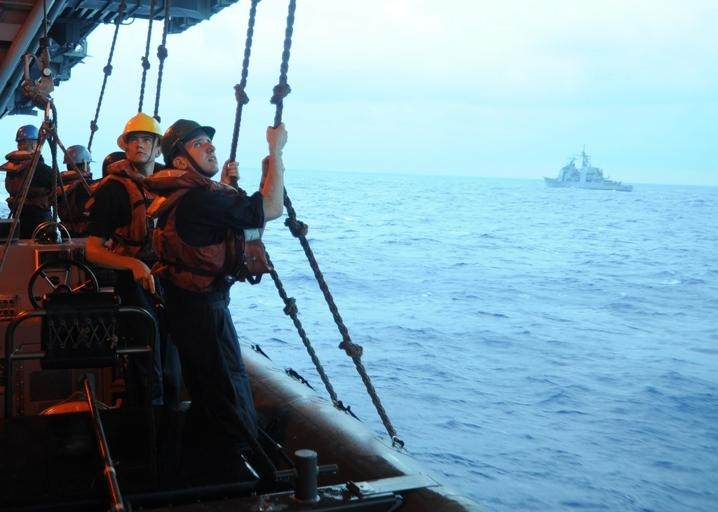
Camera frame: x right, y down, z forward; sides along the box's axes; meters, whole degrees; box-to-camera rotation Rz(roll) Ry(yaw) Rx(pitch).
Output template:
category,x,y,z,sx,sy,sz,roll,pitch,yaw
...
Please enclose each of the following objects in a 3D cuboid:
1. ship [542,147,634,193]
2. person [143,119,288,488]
category,x,y,z,sx,sy,sz,roll,pitch,yaw
ship,31.419,-11.994,93.835,12.440,4.420,3.463,-2,24,-16
person,-1.017,0.245,4.752,0.886,2.385,1.166,-1,10,-31
